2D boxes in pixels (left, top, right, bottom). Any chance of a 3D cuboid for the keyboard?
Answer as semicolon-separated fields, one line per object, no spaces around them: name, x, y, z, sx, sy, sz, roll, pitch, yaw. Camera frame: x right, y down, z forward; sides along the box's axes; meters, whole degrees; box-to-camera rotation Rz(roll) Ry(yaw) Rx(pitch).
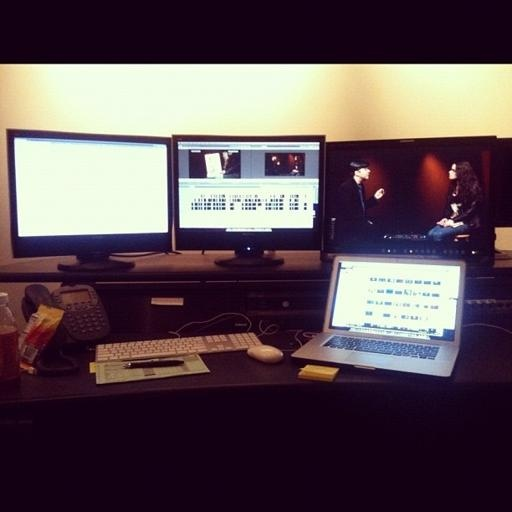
keyboard;-0.204;0.246;1.265;0.434;0.028;0.105;-4;13;-17

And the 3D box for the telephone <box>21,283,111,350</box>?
telephone;-0.525;0.159;1.302;0.223;0.145;0.168;11;16;42

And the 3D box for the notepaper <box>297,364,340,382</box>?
notepaper;0.145;0.273;1.107;0.096;0.026;0.083;3;12;13

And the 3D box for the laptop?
laptop;0.331;0.138;1.226;0.375;0.216;0.370;6;13;25

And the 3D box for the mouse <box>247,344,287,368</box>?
mouse;0.021;0.249;1.224;0.100;0.034;0.092;1;12;6

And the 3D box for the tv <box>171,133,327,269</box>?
tv;-0.023;-0.187;1.502;0.375;0.355;0.132;0;4;-2

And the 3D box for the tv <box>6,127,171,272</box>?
tv;-0.501;-0.169;1.410;0.397;0.367;0.158;-1;2;-24
